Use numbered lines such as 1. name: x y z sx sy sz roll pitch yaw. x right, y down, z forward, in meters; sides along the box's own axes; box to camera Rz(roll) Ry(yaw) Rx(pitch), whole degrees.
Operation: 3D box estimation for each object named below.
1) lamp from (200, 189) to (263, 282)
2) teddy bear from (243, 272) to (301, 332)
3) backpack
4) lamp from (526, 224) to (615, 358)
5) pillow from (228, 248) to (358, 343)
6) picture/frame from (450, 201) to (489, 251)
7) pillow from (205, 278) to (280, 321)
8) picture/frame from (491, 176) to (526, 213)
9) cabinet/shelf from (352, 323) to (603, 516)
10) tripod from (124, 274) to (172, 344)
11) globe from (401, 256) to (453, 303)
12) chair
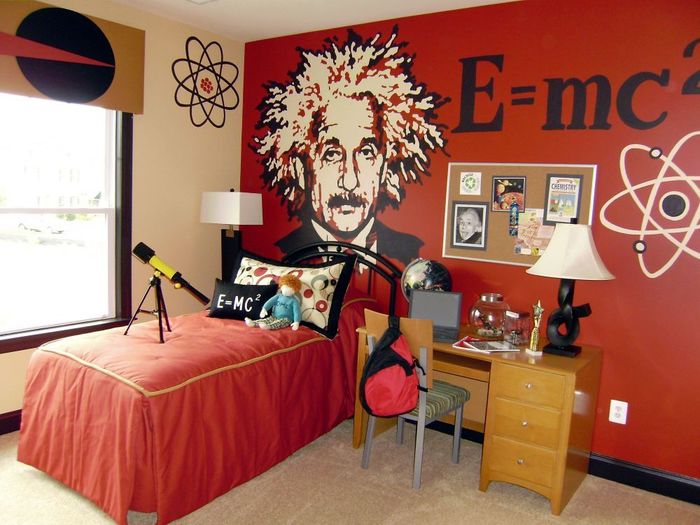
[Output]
1. lamp: -1.060 -0.341 4.856 0.471 1.006 0.457 5 5 33
2. teddy bear: -0.514 0.306 4.003 0.323 0.457 0.431 6 1 42
3. backpack: 0.244 0.649 3.318 0.300 0.608 0.297 5 8 27
4. lamp: 1.450 0.151 3.494 0.464 0.888 0.492 -1 9 -8
5. pillow: -0.478 0.241 4.313 0.972 0.441 0.503 2 26 24
6. picture/frame: 0.942 -0.290 4.077 0.316 0.455 0.029 6 9 29
7. pillow: -0.852 0.311 4.166 0.533 0.362 0.157 2 -6 3
8. picture/frame: 1.187 -0.518 3.931 0.246 0.308 0.006 1 39 17
9. cabinet/shelf: 0.890 1.017 3.885 1.490 1.025 0.795 9 11 34
10. tripod: -1.342 0.313 3.626 0.266 0.429 0.312 13 8 43
11. globe: 0.597 0.114 4.086 0.337 0.284 0.277 42 20 -3
12. chair: 0.418 0.761 3.690 0.646 1.298 0.644 10 9 39
